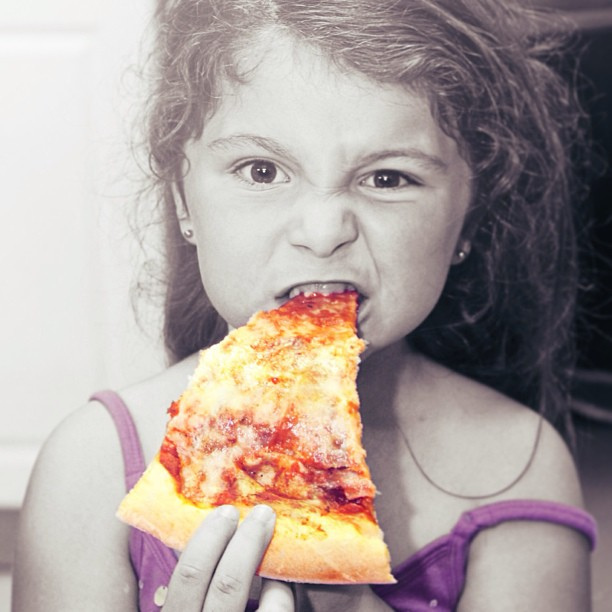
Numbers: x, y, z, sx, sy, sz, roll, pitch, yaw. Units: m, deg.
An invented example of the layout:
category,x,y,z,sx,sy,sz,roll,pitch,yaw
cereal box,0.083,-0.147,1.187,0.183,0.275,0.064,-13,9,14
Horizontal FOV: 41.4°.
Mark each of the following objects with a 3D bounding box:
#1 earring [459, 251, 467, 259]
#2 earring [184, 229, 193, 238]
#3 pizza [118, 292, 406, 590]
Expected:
category,x,y,z,sx,sy,sz,roll,pitch,yaw
earring,0.252,-0.082,1.300,0.011,0.010,0.003,4,2,-19
earring,-0.190,-0.118,1.307,0.014,0.012,0.004,8,8,38
pizza,-0.048,0.157,1.087,0.334,0.151,0.383,1,46,7
